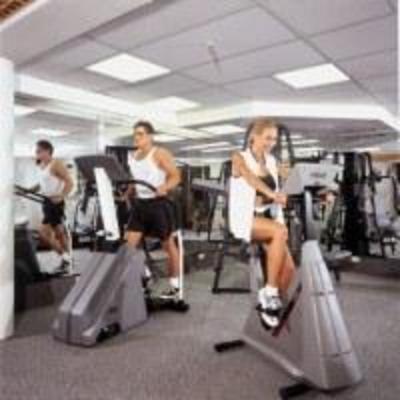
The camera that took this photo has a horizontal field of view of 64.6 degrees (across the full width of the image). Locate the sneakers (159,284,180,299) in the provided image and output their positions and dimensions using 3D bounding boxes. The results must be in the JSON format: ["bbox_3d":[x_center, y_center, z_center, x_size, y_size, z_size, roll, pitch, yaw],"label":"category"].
[{"bbox_3d":[-0.285,0.984,3.392,0.290,0.123,0.103,4,-7,-32],"label":"sneakers"}]

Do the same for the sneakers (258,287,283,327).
[{"bbox_3d":[0.427,0.687,2.010,0.133,0.271,0.128,-2,-25,-20],"label":"sneakers"}]

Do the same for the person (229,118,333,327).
[{"bbox_3d":[0.427,0.160,2.122,0.436,1.434,0.579,0,-1,0],"label":"person"}]
